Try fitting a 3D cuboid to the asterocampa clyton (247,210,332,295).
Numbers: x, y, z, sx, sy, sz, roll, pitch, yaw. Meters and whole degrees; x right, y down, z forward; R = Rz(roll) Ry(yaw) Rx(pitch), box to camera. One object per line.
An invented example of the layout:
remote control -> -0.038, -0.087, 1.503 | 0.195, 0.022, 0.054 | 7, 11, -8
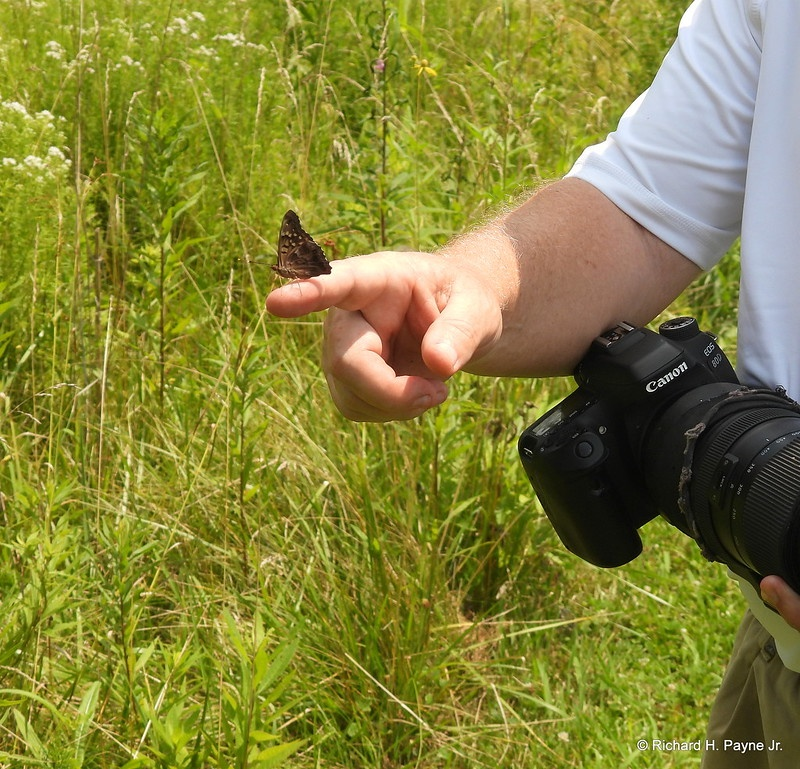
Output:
asterocampa clyton -> -0.170, -0.255, 1.399 | 0.175, 0.109, 0.162 | 5, -3, -6
